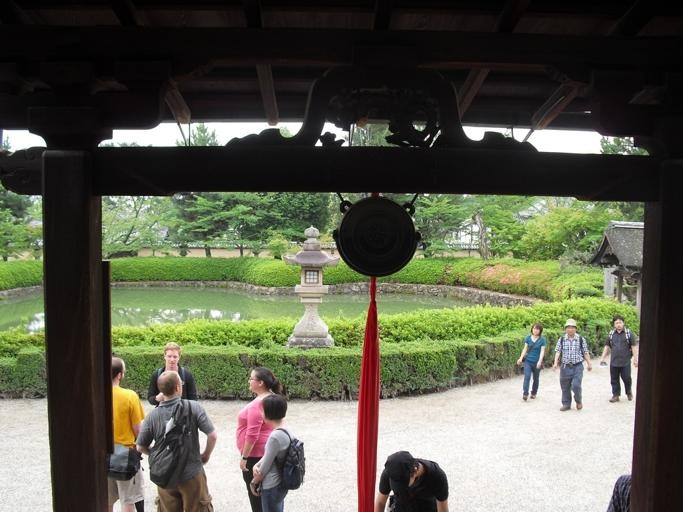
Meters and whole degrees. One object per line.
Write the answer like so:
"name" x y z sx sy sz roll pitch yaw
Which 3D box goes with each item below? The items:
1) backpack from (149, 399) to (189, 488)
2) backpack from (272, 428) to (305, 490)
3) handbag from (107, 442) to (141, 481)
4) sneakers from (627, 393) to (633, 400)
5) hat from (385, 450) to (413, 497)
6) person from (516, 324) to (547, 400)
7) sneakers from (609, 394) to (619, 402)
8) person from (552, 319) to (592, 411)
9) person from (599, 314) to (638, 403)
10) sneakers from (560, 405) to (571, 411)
"backpack" -1.274 1.437 4.897 0.342 0.548 0.206 1 -6 30
"backpack" -0.404 1.589 4.999 0.253 0.431 0.316 0 2 -1
"handbag" -1.744 1.587 5.039 0.279 0.267 0.153 7 -1 13
"sneakers" 4.361 2.113 9.618 0.090 0.127 0.083 -2 -8 38
"hat" 0.404 1.495 4.536 0.215 0.154 0.303 -7 21 22
"person" 2.919 1.590 9.765 0.364 1.136 0.704 1 2 16
"sneakers" 4.098 2.130 9.546 0.209 0.126 0.067 20 -26 -38
"person" 3.563 1.549 9.857 0.526 1.256 1.963 1 2 21
"person" 4.314 1.535 9.871 0.471 1.250 0.965 1 2 23
"sneakers" 3.171 2.149 9.028 0.057 0.059 0.158 -12 -21 44
